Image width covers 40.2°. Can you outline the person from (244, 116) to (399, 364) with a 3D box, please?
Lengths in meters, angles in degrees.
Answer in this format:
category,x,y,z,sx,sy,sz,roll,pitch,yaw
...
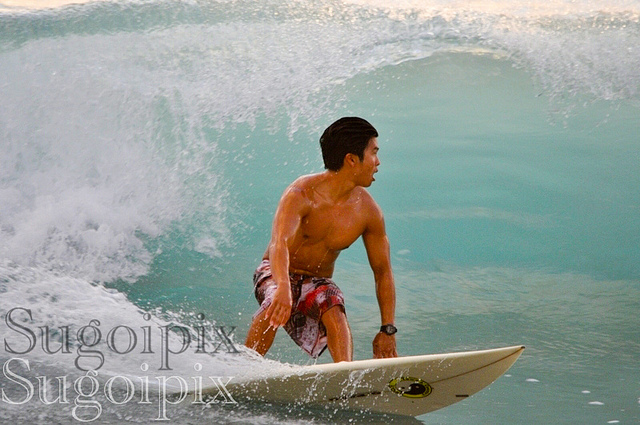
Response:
category,x,y,z,sx,sy,sz,roll,pitch,yaw
person,0.185,0.242,7.503,1.197,2.088,1.096,7,23,-7
